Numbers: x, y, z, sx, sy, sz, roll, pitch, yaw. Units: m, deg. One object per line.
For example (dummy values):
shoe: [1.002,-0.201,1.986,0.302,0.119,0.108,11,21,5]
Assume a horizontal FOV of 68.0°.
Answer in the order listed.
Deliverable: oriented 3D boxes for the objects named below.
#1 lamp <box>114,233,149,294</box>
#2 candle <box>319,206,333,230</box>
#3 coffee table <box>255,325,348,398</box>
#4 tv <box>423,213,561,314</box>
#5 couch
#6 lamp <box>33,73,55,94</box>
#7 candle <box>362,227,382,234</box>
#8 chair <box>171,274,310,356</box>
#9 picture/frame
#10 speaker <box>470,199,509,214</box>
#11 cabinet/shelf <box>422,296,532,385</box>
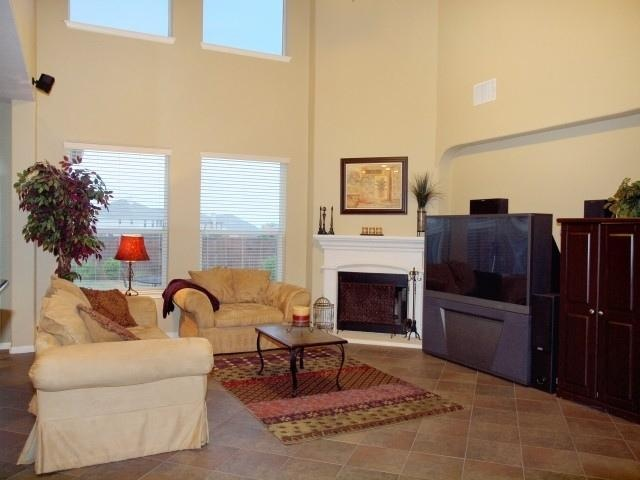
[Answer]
lamp: [-2.575,0.349,6.460,0.625,0.811,0.629,2,1,-10]
candle: [0.103,-0.324,7.684,0.245,0.439,0.242,1,5,0]
coffee table: [-0.185,1.491,5.462,0.682,0.520,1.058,2,-2,-28]
tv: [1.850,0.318,6.298,1.792,1.219,0.887,6,-5,-19]
couch: [-1.658,1.121,3.964,1.117,0.738,1.117,-2,6,-25]
lamp: [-3.679,-2.083,6.311,0.282,0.283,0.066,19,3,-9]
candle: [0.806,-0.135,7.373,0.330,0.119,0.303,2,5,7]
chair: [-1.172,0.995,6.956,1.815,1.070,1.372,0,2,-19]
picture/frame: [0.896,-0.878,7.569,0.919,0.810,0.069,0,-1,12]
speaker: [2.222,-0.439,6.235,0.460,0.204,0.337,3,5,16]
cabinet/shelf: [2.139,1.136,6.271,1.432,0.898,0.768,8,12,44]
